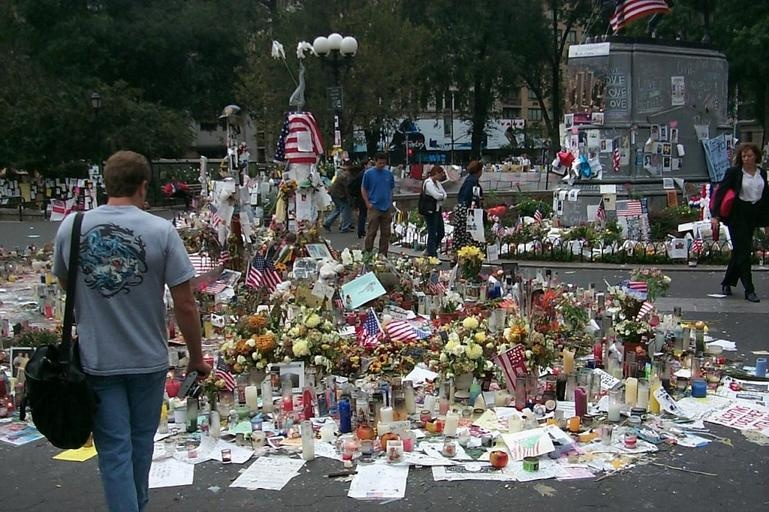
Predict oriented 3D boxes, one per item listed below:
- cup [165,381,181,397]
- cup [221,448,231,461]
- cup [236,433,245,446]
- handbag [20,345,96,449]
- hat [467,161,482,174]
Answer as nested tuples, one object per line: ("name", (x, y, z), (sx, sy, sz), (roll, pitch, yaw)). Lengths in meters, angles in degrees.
("cup", (-3.077, 1.947, 13.219), (0.226, 0.212, 0.234), (0, 3, 0))
("cup", (-2.077, 2.626, 11.917), (0.115, 0.138, 0.119), (0, 5, 0))
("cup", (-1.924, 2.474, 12.151), (0.128, 0.157, 0.141), (0, 5, 0))
("handbag", (-3.685, 1.607, 10.351), (0.800, 1.194, 0.227), (0, 5, 11))
("hat", (1.909, -1.864, 19.133), (0.323, 0.271, 0.392), (-1, 5, 3))
